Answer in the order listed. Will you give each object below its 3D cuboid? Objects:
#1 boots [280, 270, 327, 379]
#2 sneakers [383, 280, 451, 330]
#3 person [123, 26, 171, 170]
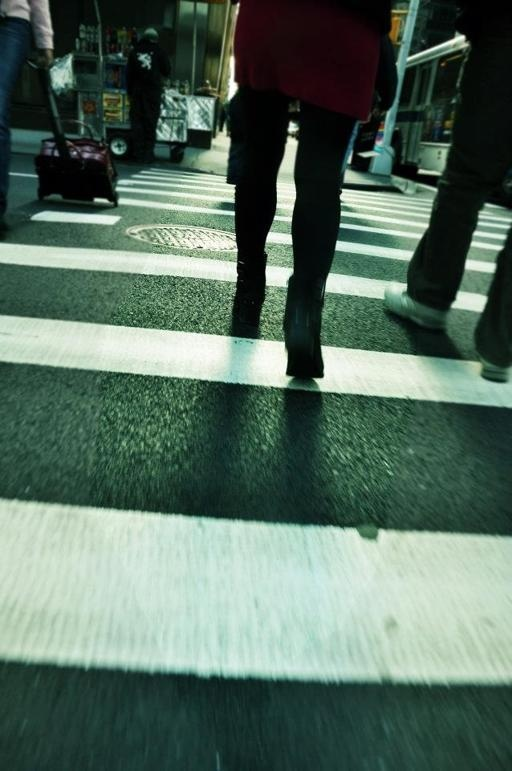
[{"bbox_3d":[0.172,-0.164,2.114,0.139,0.364,0.462,1,-11,6],"label":"boots"},{"bbox_3d":[0.767,-0.423,2.895,0.130,0.179,0.393,-9,40,-24],"label":"sneakers"},{"bbox_3d":[-2.083,-5.351,10.992,0.735,2.306,0.565,5,28,-1],"label":"person"}]
